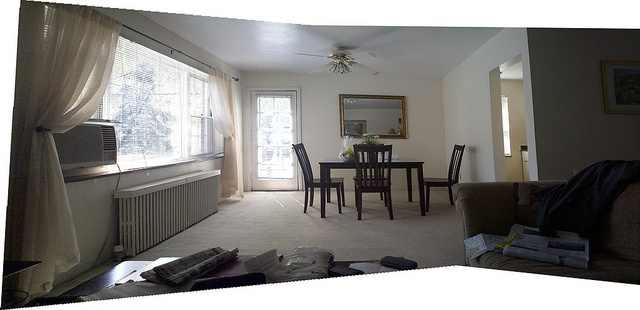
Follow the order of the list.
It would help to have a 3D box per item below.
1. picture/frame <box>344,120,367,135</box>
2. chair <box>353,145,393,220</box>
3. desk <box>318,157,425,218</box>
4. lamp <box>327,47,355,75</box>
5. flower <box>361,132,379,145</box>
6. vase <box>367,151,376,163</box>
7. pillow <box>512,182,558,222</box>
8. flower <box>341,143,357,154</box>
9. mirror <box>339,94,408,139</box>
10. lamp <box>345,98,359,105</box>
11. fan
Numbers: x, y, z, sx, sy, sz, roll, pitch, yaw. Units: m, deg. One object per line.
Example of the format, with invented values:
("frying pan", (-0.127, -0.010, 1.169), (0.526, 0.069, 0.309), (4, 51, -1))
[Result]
("picture/frame", (0.684, -0.552, 7.374), (0.510, 0.262, 0.033), (0, 1, -6))
("chair", (0.836, 0.356, 5.716), (0.618, 1.061, 1.054), (-1, 4, 5))
("desk", (0.803, 0.433, 5.939), (1.596, 0.639, 0.945), (1, 1, -1))
("lamp", (0.313, -1.535, 5.919), (0.532, 0.298, 0.505), (-2, 13, -12))
("flower", (0.808, -0.251, 5.922), (0.299, 0.133, 0.317), (3, 3, 8))
("vase", (0.759, 0.036, 5.395), (0.127, 0.157, 0.153), (-1, 4, -2))
("pillow", (2.242, 0.497, 3.944), (0.499, 0.375, 0.136), (4, -4, 17))
("flower", (0.461, -0.099, 5.945), (0.218, 0.136, 0.185), (7, 13, -6))
("mirror", (1.078, -0.751, 7.485), (1.669, 0.923, 0.064), (6, 12, 43))
("lamp", (0.619, -1.073, 7.361), (0.181, 0.043, 0.154), (-7, 26, -39))
("fan", (0.282, -1.497, 6.052), (0.832, 0.151, 0.774), (-2, 6, -26))
